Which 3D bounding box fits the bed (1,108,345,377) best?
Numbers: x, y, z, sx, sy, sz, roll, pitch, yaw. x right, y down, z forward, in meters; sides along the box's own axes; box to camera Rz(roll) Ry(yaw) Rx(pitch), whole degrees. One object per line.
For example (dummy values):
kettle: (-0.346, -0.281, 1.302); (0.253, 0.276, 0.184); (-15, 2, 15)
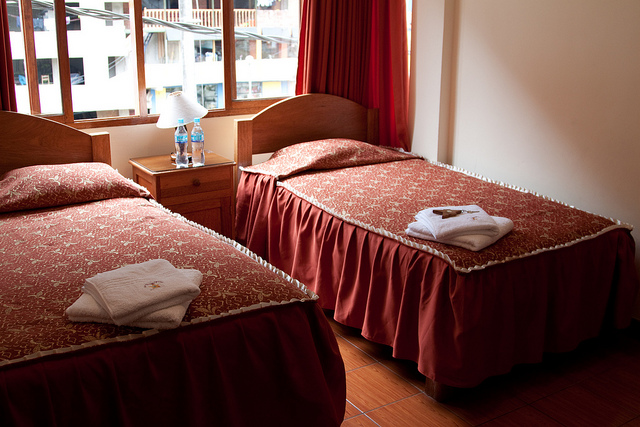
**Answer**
bed: (-1.080, 0.068, 2.215); (1.152, 0.809, 1.872); (-14, 25, -39)
